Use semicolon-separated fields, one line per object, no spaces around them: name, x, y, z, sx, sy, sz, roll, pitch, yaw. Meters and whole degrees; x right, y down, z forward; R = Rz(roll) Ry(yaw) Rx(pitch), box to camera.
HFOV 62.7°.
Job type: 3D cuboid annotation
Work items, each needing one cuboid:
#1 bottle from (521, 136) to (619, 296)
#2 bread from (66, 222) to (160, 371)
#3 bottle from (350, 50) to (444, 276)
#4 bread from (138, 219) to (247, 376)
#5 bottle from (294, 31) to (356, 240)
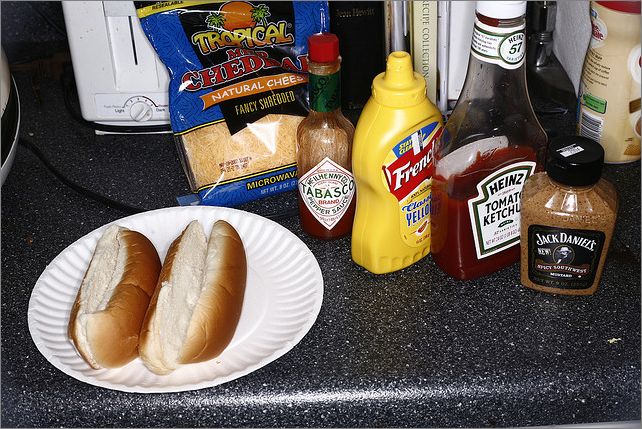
bottle;0.338;0.006;0.726;0.124;0.197;0.120;-4;45;4
bread;-0.281;0.114;0.743;0.094;0.072;0.181;8;57;-6
bottle;0.105;-0.057;0.740;0.118;0.284;0.155;3;46;12
bread;-0.162;0.114;0.741;0.099;0.057;0.193;8;51;1
bottle;0.006;-0.109;0.792;0.092;0.306;0.093;-1;33;1
